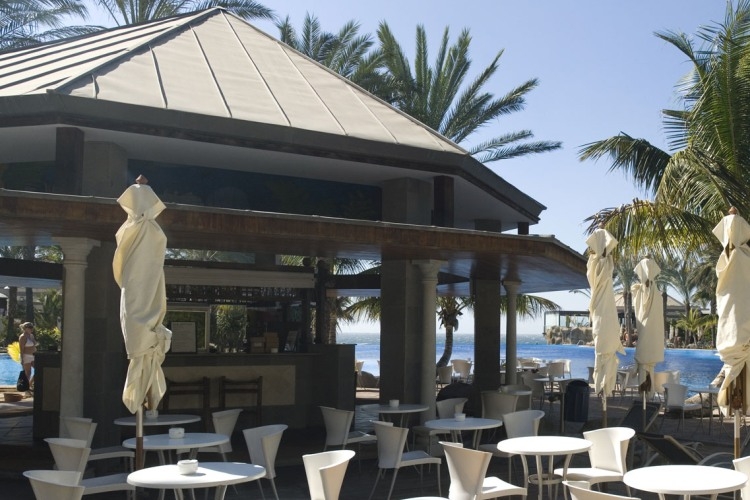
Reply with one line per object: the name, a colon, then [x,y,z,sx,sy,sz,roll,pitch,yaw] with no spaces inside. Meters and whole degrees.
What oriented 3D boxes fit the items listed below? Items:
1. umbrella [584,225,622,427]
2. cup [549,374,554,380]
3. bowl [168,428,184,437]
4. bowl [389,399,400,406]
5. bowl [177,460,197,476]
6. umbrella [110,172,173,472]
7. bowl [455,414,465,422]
umbrella: [5.392,1.834,20.852,0.728,4.539,1.002,-1,-9,15]
cup: [5.928,4.300,29.713,0.233,0.193,0.271,-1,-1,11]
bowl: [-4.257,3.972,19.278,0.240,0.163,0.251,1,-3,0]
bowl: [0.527,3.838,22.147,0.226,0.183,0.221,0,-4,0]
bowl: [-3.757,4.430,17.982,0.277,0.193,0.296,-1,-4,0]
umbrella: [-4.829,1.501,18.339,1.198,5.924,0.833,5,-9,-25]
bowl: [2.003,3.936,20.703,0.155,0.106,0.161,1,-2,0]
